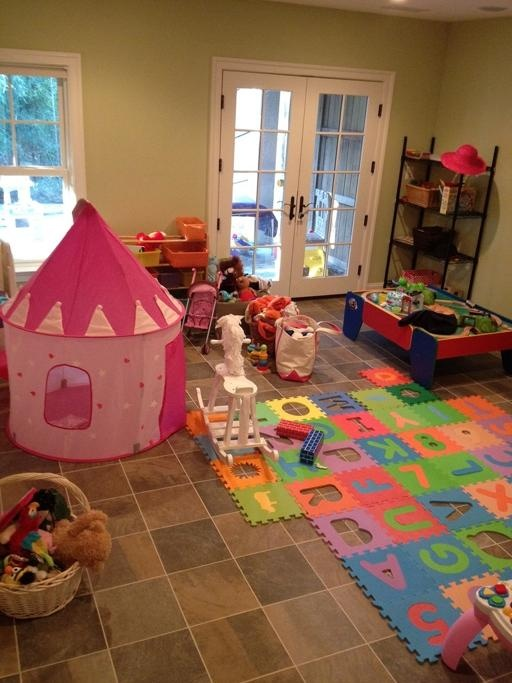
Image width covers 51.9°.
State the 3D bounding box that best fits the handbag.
[{"bbox_3d":[0.301,0.047,4.454,0.644,0.509,0.460,-2,15,-16],"label":"handbag"}]

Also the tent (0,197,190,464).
[{"bbox_3d":[-0.934,-0.039,3.026,1.088,1.385,0.606,4,18,-5],"label":"tent"}]

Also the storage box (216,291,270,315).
[{"bbox_3d":[-0.132,-0.351,4.905,0.430,0.171,0.274,1,13,5],"label":"storage box"}]

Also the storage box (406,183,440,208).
[{"bbox_3d":[1.837,-1.602,5.759,0.184,0.148,0.323,-9,24,-20],"label":"storage box"}]
